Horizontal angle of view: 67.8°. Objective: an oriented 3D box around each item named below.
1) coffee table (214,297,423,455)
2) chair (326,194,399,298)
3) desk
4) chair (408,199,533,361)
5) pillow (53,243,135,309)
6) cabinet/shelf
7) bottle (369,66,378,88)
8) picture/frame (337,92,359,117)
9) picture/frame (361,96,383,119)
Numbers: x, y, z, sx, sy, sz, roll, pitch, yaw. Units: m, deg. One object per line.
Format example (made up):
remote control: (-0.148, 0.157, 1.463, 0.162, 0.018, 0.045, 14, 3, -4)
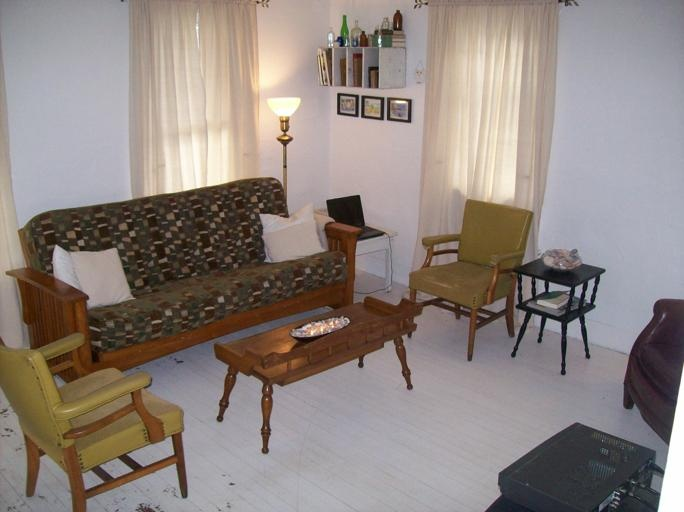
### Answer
coffee table: (-0.152, 0.740, 3.712, 1.472, 0.776, 0.614, -11, 20, -41)
chair: (0.228, -0.117, 5.401, 0.722, 1.183, 0.698, -16, 24, -35)
desk: (1.822, 0.510, 4.341, 0.662, 0.829, 0.723, 6, 17, 25)
chair: (1.164, 0.158, 4.639, 0.828, 1.279, 0.881, -11, 18, -41)
pillow: (-1.901, 0.185, 3.987, 0.241, 0.439, 0.481, 9, 10, 14)
cabinet/shelf: (0.164, -2.032, 5.520, 0.316, 0.392, 0.993, -18, 27, -41)
bottle: (0.342, -1.853, 5.268, 0.067, 0.201, 0.172, -10, 19, -26)
picture/frame: (0.077, -1.769, 5.894, 0.256, 0.233, 0.020, 21, 33, 37)
picture/frame: (0.348, -1.674, 5.689, 0.020, 0.220, 0.243, -12, 17, -42)
